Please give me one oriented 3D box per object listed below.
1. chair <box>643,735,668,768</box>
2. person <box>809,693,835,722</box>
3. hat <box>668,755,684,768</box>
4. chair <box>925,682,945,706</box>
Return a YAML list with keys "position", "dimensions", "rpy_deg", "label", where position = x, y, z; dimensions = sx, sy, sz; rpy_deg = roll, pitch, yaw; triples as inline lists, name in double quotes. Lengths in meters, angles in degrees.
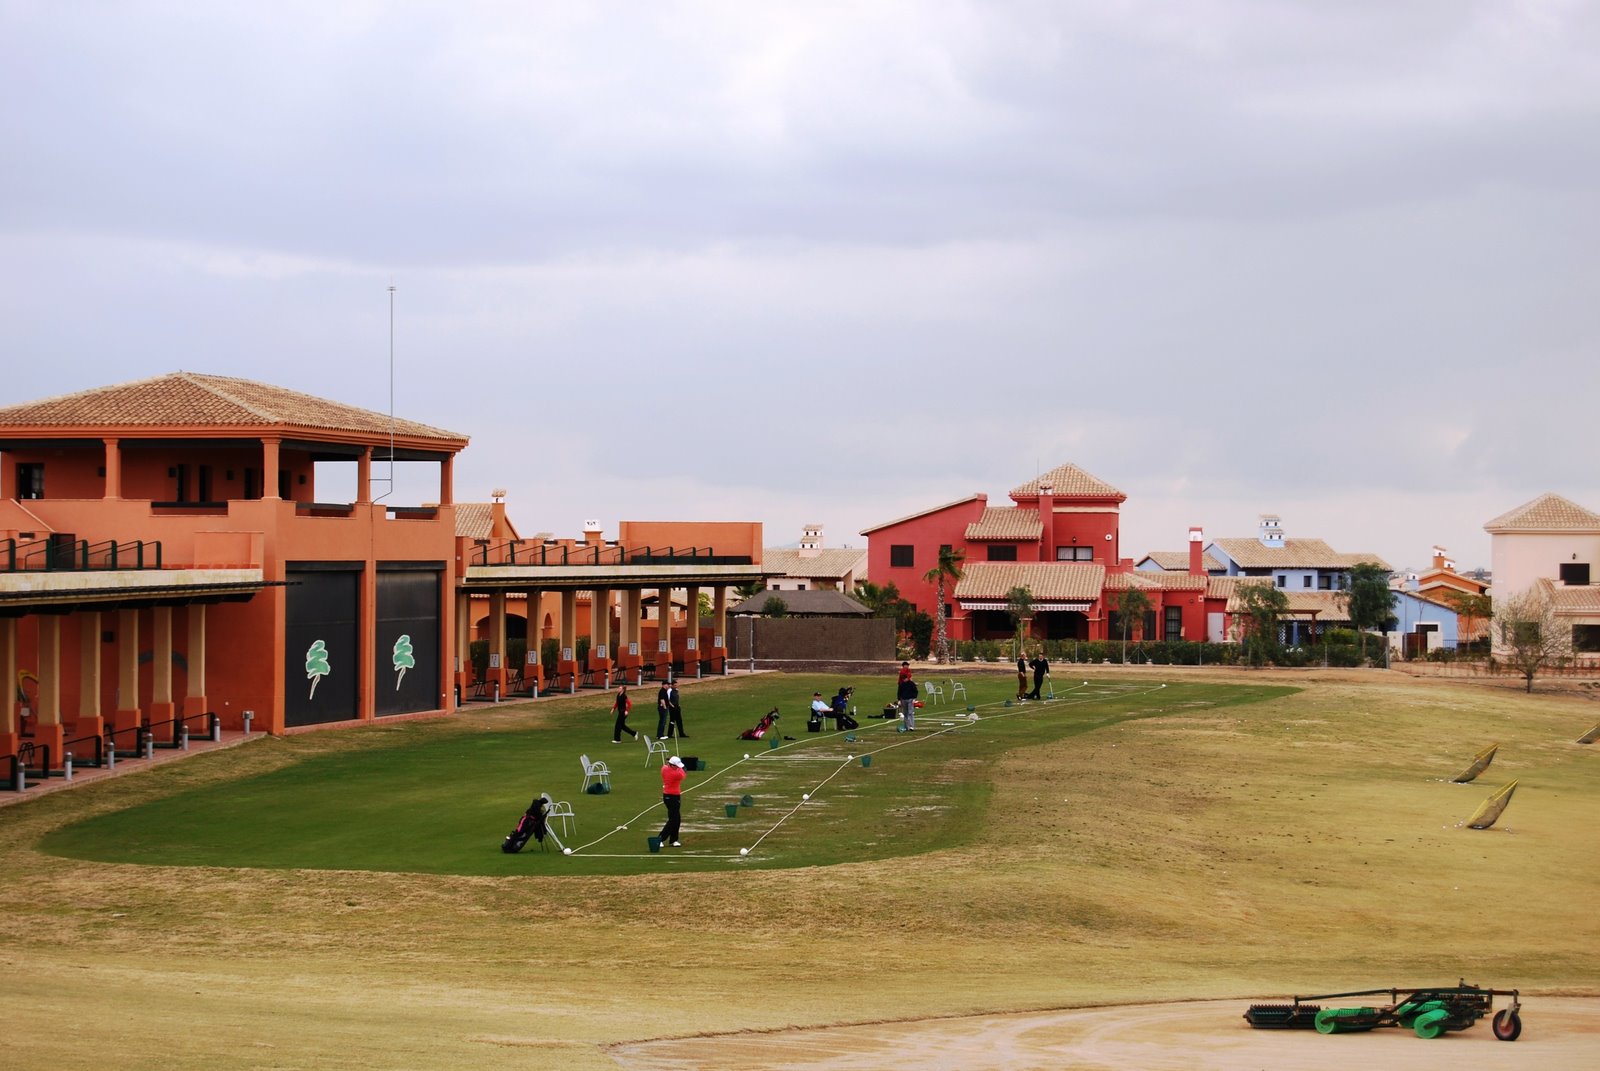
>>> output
- position: [-4.247, 6.224, 79.571]
  dimensions: [0.404, 0.555, 0.946]
  rpy_deg: [-2, 2, 6]
  label: "chair"
- position: [0.444, 5.538, 88.956]
  dimensions: [0.922, 0.550, 1.070]
  rpy_deg: [1, 30, 0]
  label: "person"
- position: [-3.188, 5.620, 68.503]
  dimensions: [0.459, 0.183, 0.640]
  rpy_deg: [5, -1, -14]
  label: "hat"
- position: [4.314, 5.516, 97.198]
  dimensions: [0.776, 0.833, 0.661]
  rpy_deg: [-3, 3, 3]
  label: "chair"
